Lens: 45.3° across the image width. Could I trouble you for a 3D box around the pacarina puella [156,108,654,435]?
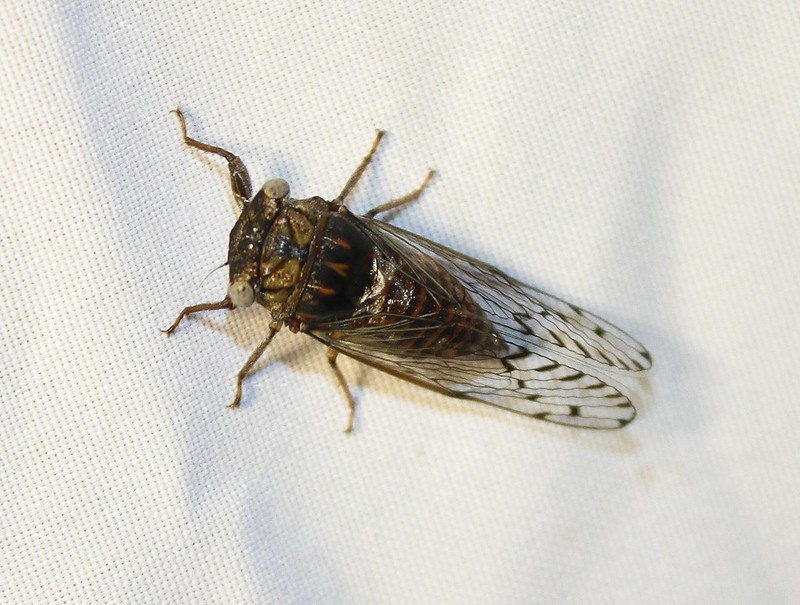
[{"bbox_3d":[-0.173,-0.109,2.365,1.515,0.245,0.793,20,38,4],"label":"pacarina puella"}]
